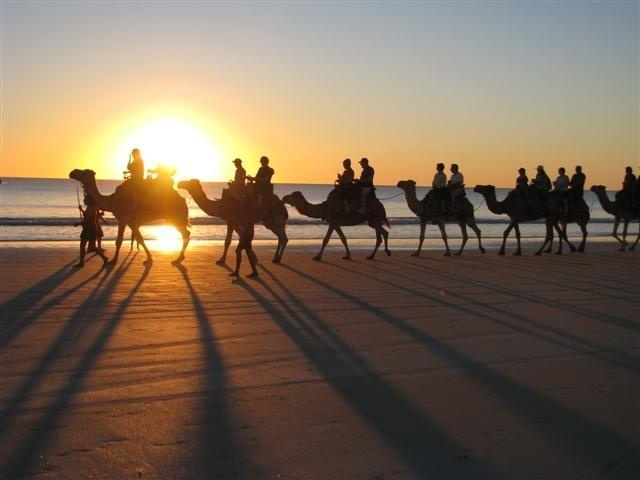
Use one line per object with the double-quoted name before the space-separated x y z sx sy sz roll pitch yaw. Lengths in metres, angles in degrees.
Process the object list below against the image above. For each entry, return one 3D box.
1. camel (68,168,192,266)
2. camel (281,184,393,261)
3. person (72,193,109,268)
"camel" -4.594 -0.523 13.406 2.891 2.170 0.935 2 -3 -9
"camel" 0.538 -0.385 14.809 2.899 1.992 0.756 -2 6 -4
"person" -5.291 -0.211 12.579 0.442 1.568 0.713 4 1 33
